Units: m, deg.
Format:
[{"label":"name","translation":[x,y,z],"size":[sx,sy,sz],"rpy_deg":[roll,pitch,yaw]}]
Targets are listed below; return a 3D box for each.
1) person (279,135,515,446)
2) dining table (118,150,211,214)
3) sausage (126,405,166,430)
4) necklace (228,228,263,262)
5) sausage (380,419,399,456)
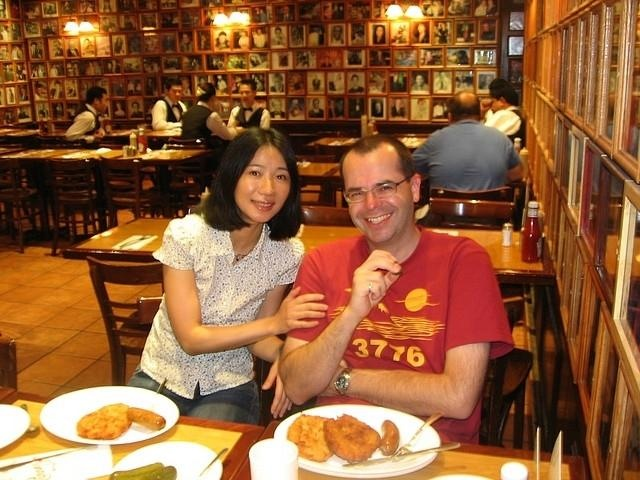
[{"label":"person","translation":[0.210,0.232,1.759],"size":[0.822,1.071,0.603],"rpy_deg":[-4,9,18]},{"label":"dining table","translation":[-2.058,-0.955,6.727],"size":[0.978,0.917,0.956],"rpy_deg":[-6,20,-19]},{"label":"sausage","translation":[-0.451,0.456,1.292],"size":[0.092,0.029,0.048],"rpy_deg":[13,15,18]},{"label":"necklace","translation":[-0.316,-0.001,2.106],"size":[0.140,0.123,0.166],"rpy_deg":[0,4,-3]},{"label":"sausage","translation":[0.171,0.477,1.221],"size":[0.051,0.038,0.106],"rpy_deg":[-1,26,9]}]
